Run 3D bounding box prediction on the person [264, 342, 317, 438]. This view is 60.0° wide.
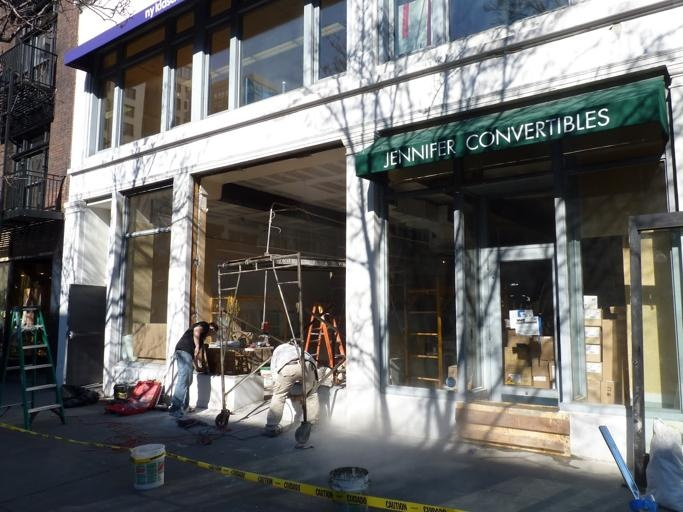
[{"bbox_3d":[-0.860,2.278,10.353,0.850,1.599,1.145,-2,-9,6],"label":"person"}]

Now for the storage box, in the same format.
[{"bbox_3d":[3.646,1.516,9.500,1.575,1.552,0.552,-3,-7,35],"label":"storage box"}]

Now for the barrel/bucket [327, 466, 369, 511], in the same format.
[{"bbox_3d":[0.121,2.816,7.347,0.436,0.534,0.454,0,-4,0],"label":"barrel/bucket"}]

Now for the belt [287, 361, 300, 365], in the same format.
[{"bbox_3d":[-0.815,1.832,10.239,0.183,0.069,0.042,-1,-9,-2],"label":"belt"}]

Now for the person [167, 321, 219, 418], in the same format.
[{"bbox_3d":[-3.045,2.252,11.975,1.002,1.841,1.014,-9,-12,43],"label":"person"}]

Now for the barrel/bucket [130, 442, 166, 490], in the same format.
[{"bbox_3d":[-2.616,2.827,8.097,0.478,0.521,0.498,-1,-5,0],"label":"barrel/bucket"}]

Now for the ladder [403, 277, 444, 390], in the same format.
[{"bbox_3d":[1.480,1.353,10.539,0.703,1.851,0.171,-6,-10,30],"label":"ladder"}]
